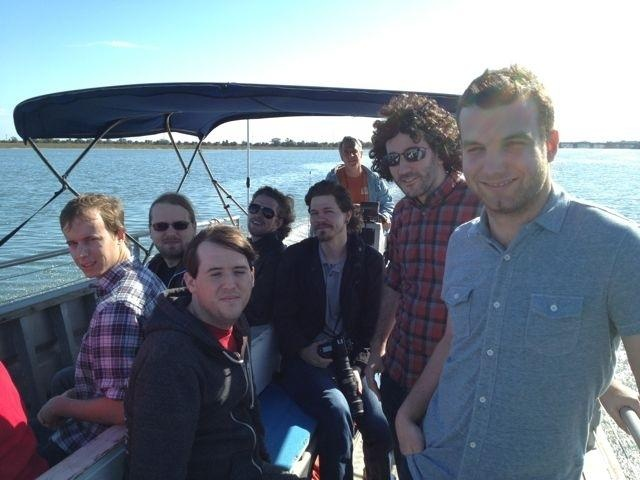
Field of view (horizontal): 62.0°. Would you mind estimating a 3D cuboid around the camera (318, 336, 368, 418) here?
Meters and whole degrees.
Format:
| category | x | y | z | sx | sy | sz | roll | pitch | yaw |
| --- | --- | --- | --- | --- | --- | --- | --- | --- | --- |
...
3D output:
| category | x | y | z | sx | sy | sz | roll | pitch | yaw |
| --- | --- | --- | --- | --- | --- | --- | --- | --- | --- |
| camera | 0.134 | 0.927 | 3.724 | 0.217 | 0.611 | 0.221 | 15 | -47 | -44 |
